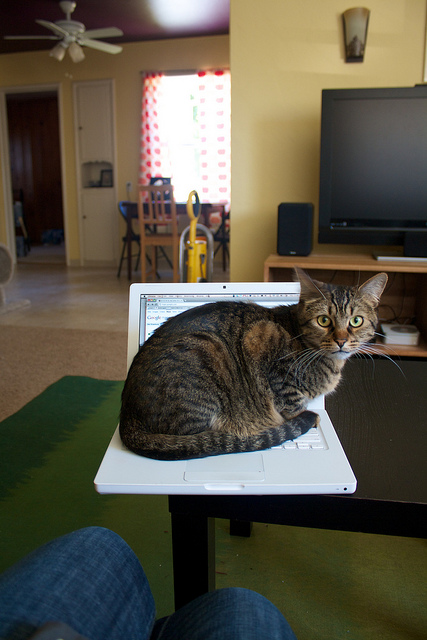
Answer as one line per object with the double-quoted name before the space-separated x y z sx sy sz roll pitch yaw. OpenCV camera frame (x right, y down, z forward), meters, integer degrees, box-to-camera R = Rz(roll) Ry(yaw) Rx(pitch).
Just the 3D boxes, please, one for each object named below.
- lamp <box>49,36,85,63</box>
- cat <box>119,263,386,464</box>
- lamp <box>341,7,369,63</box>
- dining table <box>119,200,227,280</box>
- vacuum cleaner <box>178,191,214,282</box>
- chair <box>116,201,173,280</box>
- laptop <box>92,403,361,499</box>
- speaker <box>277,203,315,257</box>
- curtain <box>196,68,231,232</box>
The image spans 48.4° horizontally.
"lamp" -1.096 -2.009 3.554 0.204 0.153 0.216 1 32 -10
"cat" 0.058 0.049 0.759 0.392 0.233 0.270 -2 14 -11
"lamp" 0.701 -1.390 2.367 0.176 0.291 0.185 3 12 19
"dining table" -0.531 -0.950 5.401 0.682 0.662 0.905 17 20 28
"vacuum cleaner" -0.152 -0.579 3.974 0.287 0.958 0.315 2 15 11
"chair" -0.951 -0.978 5.578 0.506 1.040 0.549 1 14 12
"laptop" 0.010 0.163 0.577 0.293 0.043 0.165 1 17 1
"speaker" 0.409 -0.448 2.373 0.174 0.254 0.088 2 16 5
"curtain" -0.013 -2.023 5.453 0.452 1.556 0.249 5 17 15
